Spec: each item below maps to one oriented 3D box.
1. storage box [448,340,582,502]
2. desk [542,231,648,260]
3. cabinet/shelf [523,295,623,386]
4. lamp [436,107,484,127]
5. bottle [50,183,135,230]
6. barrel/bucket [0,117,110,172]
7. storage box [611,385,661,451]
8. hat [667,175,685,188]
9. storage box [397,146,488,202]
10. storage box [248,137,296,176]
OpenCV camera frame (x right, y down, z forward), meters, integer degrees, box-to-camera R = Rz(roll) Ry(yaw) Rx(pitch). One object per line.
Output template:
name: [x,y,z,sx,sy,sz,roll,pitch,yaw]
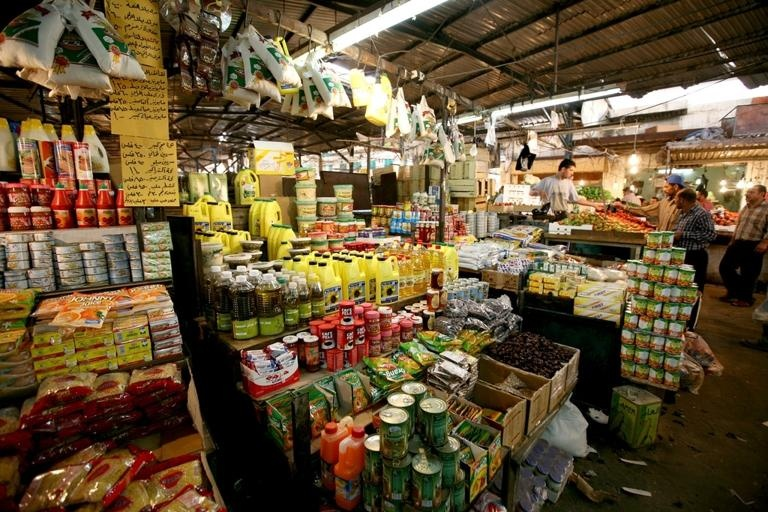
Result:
storage box: [1.132,1.483,4.314,0.557,1.010,1.415,6,13,41]
desk: [3.072,-0.205,7.030,0.707,0.383,0.712,0,5,3]
cabinet/shelf: [2.034,0.907,5.060,1.131,0.860,0.595,6,15,27]
lamp: [1.263,-2.245,7.926,0.977,0.205,0.768,-4,26,-4]
bottle: [-2.469,-0.436,4.059,0.595,0.390,0.220,-6,11,-22]
barrel/bucket: [-2.927,-0.965,4.268,0.838,0.476,0.437,-8,11,-32]
storage box: [2.574,1.658,4.960,0.439,0.539,0.351,2,11,25]
hat: [4.490,-1.146,7.422,0.217,0.189,0.258,3,10,27]
storage box: [0.955,-1.230,7.716,1.174,0.599,1.109,3,7,28]
storage box: [-1.432,-1.261,6.229,0.249,0.444,0.637,6,12,39]
